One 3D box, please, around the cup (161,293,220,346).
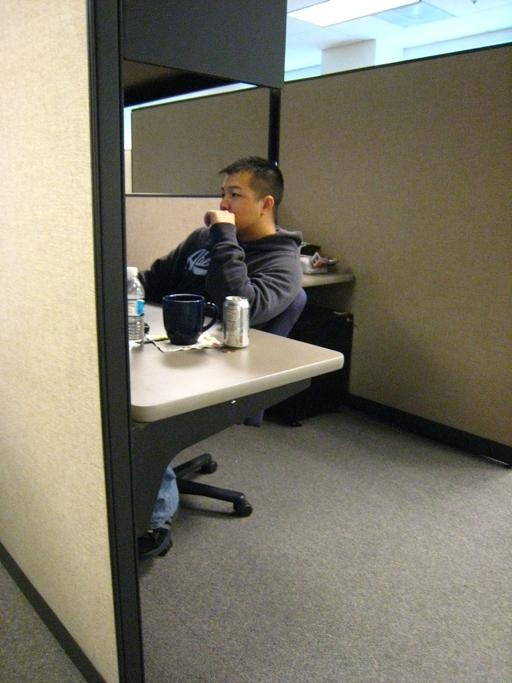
[{"bbox_3d":[-0.135,-0.053,1.300,0.157,0.113,0.117,-5,12,-28],"label":"cup"}]
